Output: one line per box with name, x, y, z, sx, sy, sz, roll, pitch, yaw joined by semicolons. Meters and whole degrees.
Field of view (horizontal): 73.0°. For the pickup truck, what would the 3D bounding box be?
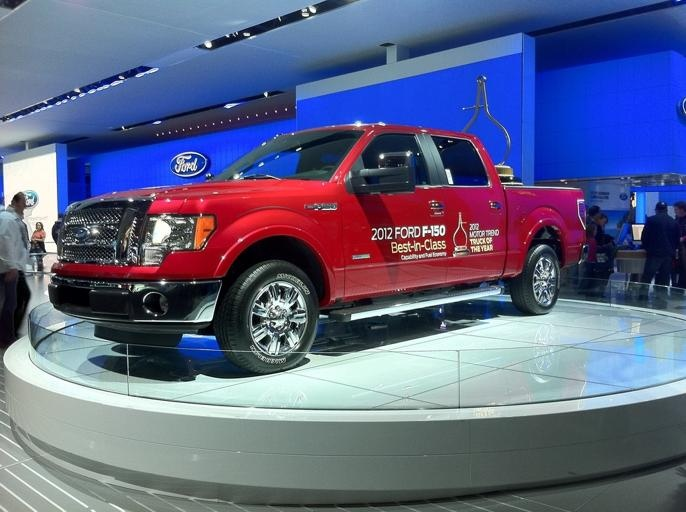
pickup truck;0.141;-0.211;4.949;4.746;1.334;2.439;2;-4;-41
